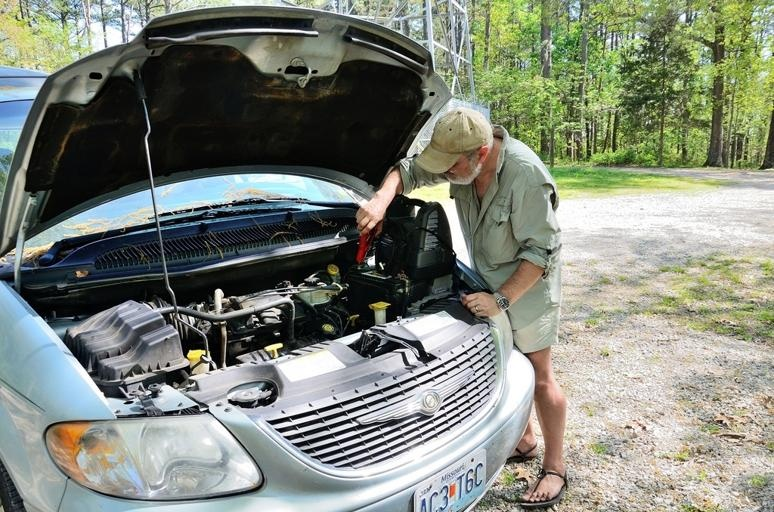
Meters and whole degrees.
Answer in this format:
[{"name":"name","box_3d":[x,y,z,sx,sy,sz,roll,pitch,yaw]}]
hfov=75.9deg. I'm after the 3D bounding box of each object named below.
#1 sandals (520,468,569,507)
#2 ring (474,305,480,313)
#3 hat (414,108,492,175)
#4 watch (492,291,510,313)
[{"name":"sandals","box_3d":[1.017,1.498,3.227,0.155,0.107,0.384,2,11,43]},{"name":"ring","box_3d":[0.540,0.328,3.043,0.037,0.029,0.011,8,0,24]},{"name":"hat","box_3d":[0.405,-0.681,3.100,0.504,0.308,0.265,-34,-29,-4]},{"name":"watch","box_3d":[0.703,0.282,3.079,0.112,0.107,0.029,-27,9,-40]}]
